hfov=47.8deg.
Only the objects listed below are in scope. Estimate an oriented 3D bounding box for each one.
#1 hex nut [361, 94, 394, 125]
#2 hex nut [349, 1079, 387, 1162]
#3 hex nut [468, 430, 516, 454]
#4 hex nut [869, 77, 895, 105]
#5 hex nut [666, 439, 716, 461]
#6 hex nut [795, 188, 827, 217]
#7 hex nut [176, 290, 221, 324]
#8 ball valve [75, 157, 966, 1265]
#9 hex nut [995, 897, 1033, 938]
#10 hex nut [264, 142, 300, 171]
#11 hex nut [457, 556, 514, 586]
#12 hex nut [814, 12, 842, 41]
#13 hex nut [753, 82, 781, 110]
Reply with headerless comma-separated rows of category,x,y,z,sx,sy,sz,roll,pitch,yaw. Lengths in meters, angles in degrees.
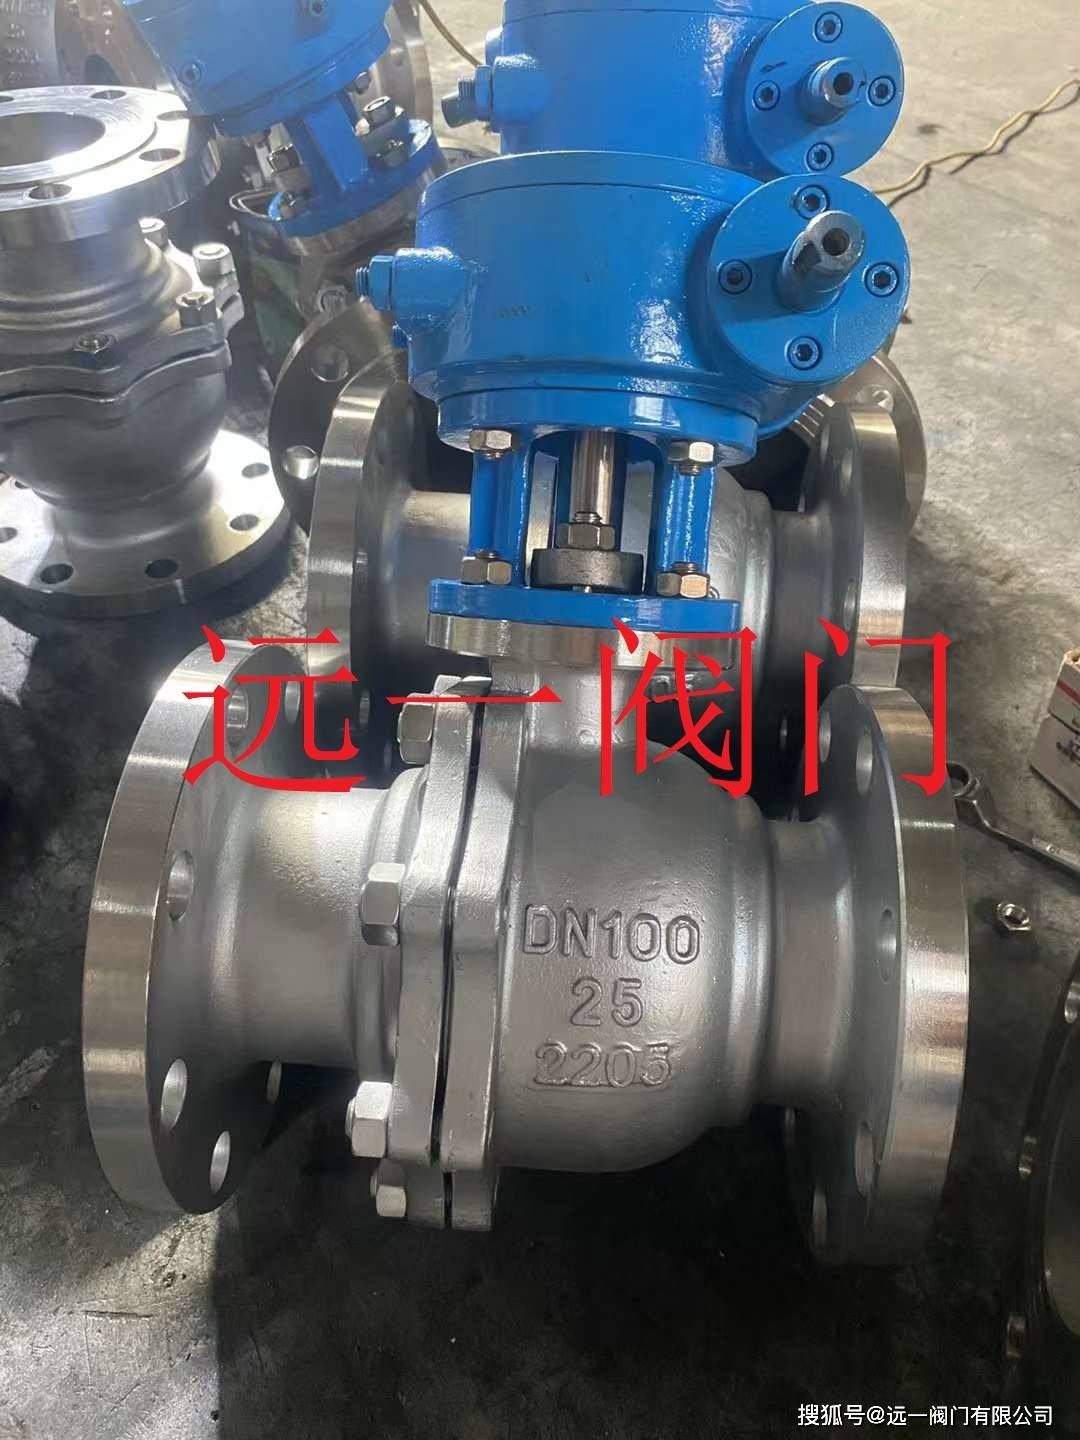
hex nut,-0.271,-0.998,2.000,0.047,0.022,0.055,-51,33,-10
hex nut,-0.128,0.301,0.938,0.034,0.041,0.063,-4,56,1
hex nut,-0.036,-0.212,0.925,0.026,0.011,0.019,-1,58,3
hex nut,0.275,-0.505,0.973,0.020,0.006,0.021,-9,104,-11
hex nut,0.118,-0.205,0.929,0.022,0.021,0.021,-1,101,-6
hex nut,0.200,-0.380,0.888,0.022,0.007,0.023,-9,99,-5
hex nut,-0.505,-0.610,1.796,0.053,0.035,0.051,13,49,10
ball valve,0.035,-0.029,1.142,0.716,0.549,1.070,5,96,8
hex nut,0.592,0.247,1.511,0.044,0.023,0.048,15,59,13
hex nut,-0.387,-0.851,1.832,0.033,0.034,0.012,-8,38,14
hex nut,-0.042,-0.118,0.953,0.030,0.028,0.018,0,100,-3
hex nut,0.228,-0.545,0.956,0.017,0.006,0.018,-9,99,-12
hex nut,0.182,-0.499,0.971,0.020,0.017,0.009,0,56,4
